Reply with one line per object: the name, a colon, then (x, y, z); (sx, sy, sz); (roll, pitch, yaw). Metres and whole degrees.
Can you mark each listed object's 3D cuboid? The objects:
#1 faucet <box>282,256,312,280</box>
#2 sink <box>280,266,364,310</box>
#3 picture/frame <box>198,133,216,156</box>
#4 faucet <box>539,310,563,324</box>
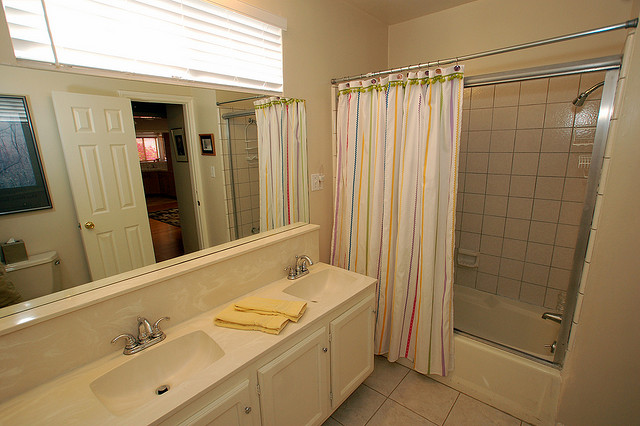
faucet: (-0.174, 0.402, 3.040); (0.165, 0.148, 0.198); (8, 12, 44)
sink: (0.083, 0.542, 2.996); (0.270, 0.113, 0.386); (12, 24, 36)
picture/frame: (-0.760, -0.453, 2.634); (0.024, 0.192, 0.137); (5, 12, 44)
faucet: (1.853, 0.840, 3.153); (0.097, 0.145, 0.404); (5, -14, 16)
